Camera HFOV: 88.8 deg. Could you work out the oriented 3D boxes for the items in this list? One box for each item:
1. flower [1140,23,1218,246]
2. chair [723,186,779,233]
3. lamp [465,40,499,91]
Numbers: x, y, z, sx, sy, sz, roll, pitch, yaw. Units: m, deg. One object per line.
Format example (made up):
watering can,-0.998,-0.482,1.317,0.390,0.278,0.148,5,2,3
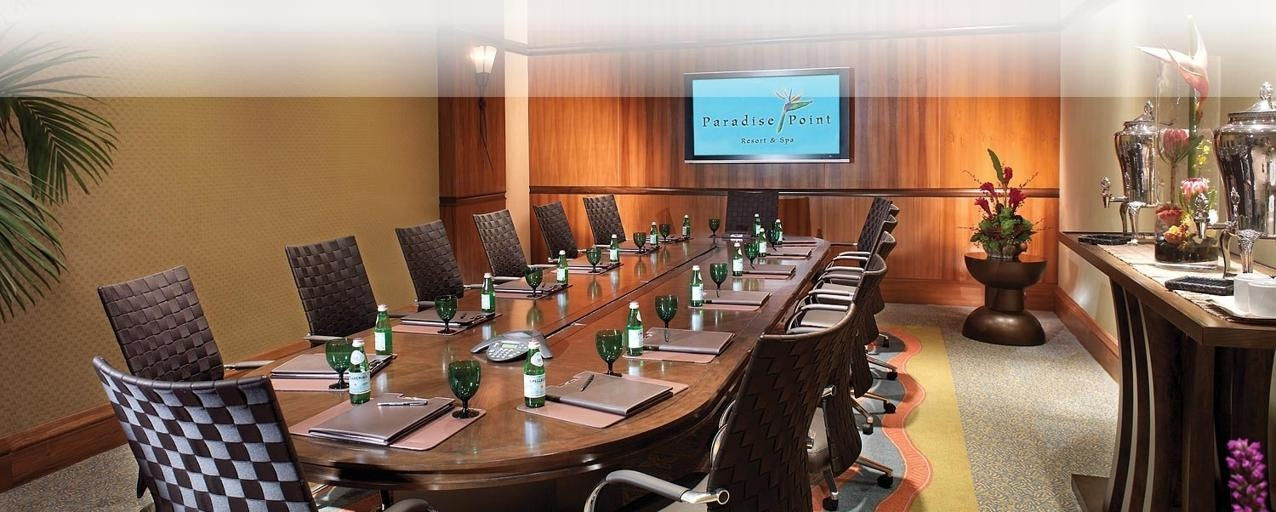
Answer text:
flower,4.794,-1.317,5.829,0.459,1.551,1.293,8,20,39
chair,1.597,-0.661,9.387,0.826,1.044,0.757,1,2,13
lamp,-2.199,-2.645,9.297,0.199,0.676,0.331,2,18,23
